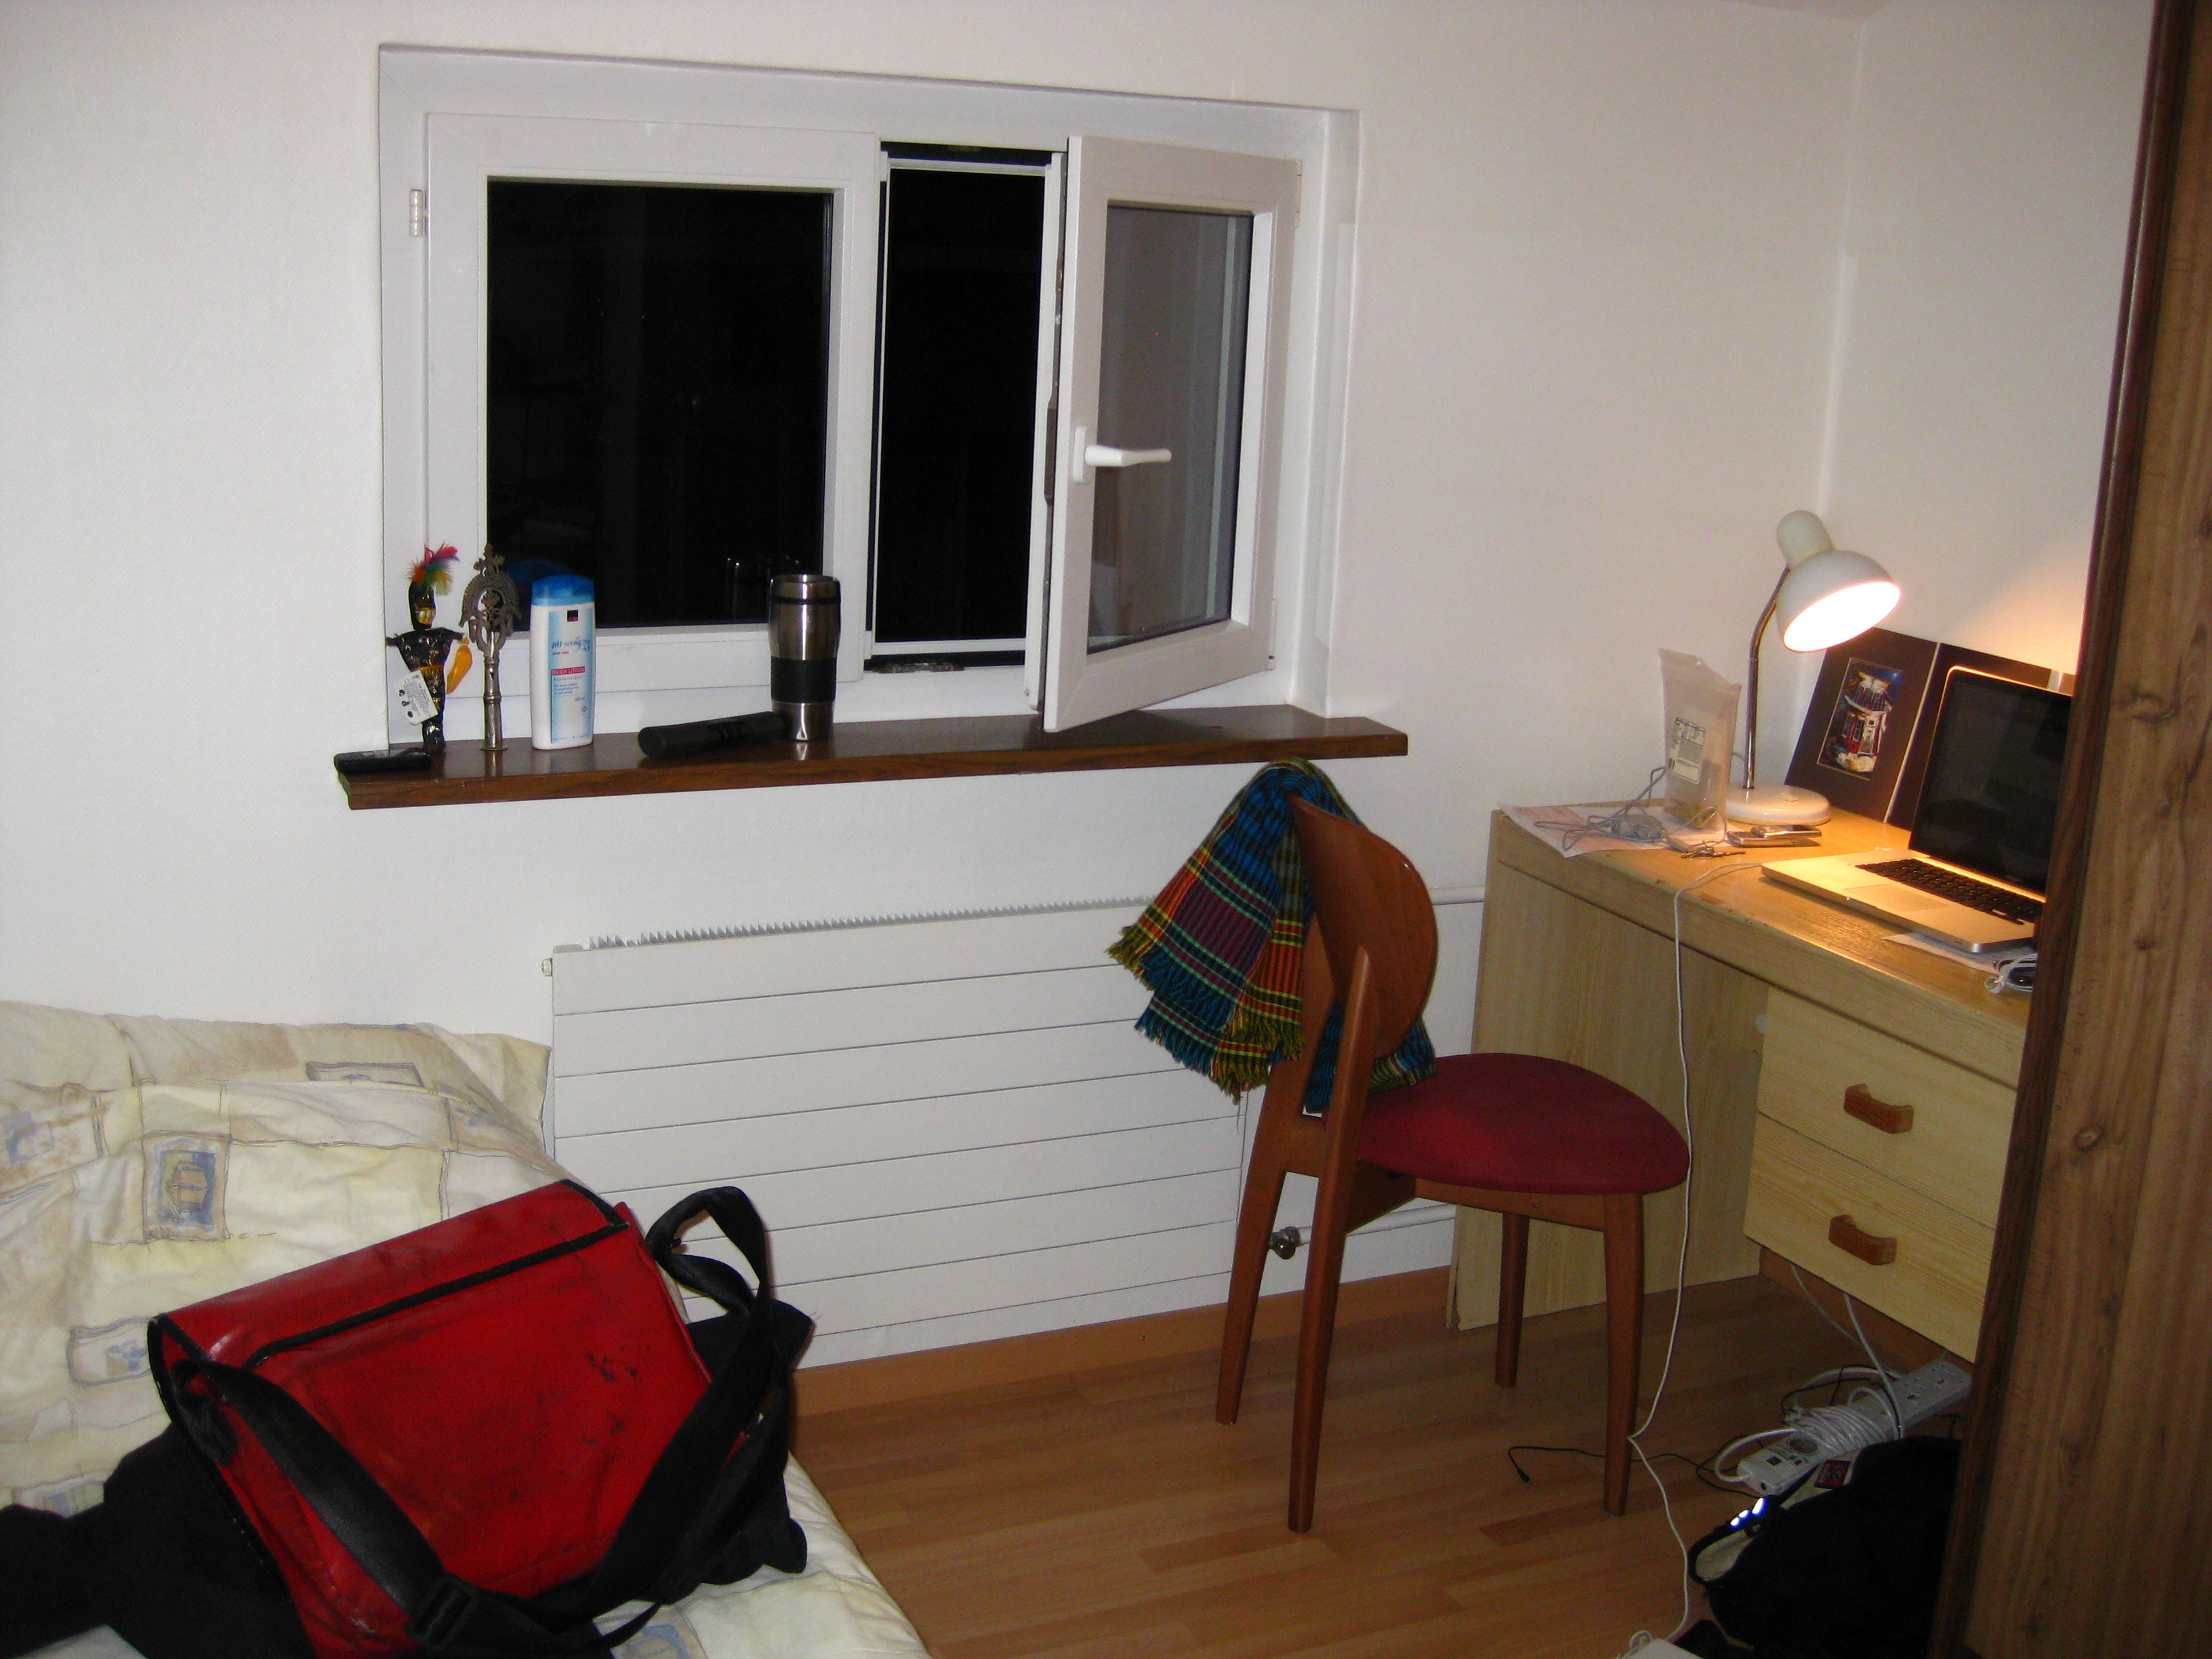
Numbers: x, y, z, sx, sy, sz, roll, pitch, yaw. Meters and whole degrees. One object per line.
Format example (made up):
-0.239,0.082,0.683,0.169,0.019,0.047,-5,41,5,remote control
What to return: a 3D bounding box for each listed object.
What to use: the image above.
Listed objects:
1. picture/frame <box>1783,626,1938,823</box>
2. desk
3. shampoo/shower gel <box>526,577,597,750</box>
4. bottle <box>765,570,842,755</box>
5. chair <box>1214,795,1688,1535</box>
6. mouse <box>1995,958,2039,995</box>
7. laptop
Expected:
1.383,-0.190,3.108,0.035,0.458,0.328,16,-3,-25,picture/frame
1.000,0.355,2.741,0.511,0.715,0.845,-5,17,-24,desk
-0.819,-0.247,2.535,0.125,0.253,0.080,-3,14,2,shampoo/shower gel
-0.469,-0.270,2.678,0.122,0.262,0.234,-6,15,-9,bottle
0.559,0.525,2.730,0.670,1.068,0.585,-4,10,-14,chair
1.232,0.198,2.309,0.066,0.028,0.094,-6,7,11,mouse
1.353,-0.005,2.695,0.441,0.407,0.520,-6,17,-16,laptop
